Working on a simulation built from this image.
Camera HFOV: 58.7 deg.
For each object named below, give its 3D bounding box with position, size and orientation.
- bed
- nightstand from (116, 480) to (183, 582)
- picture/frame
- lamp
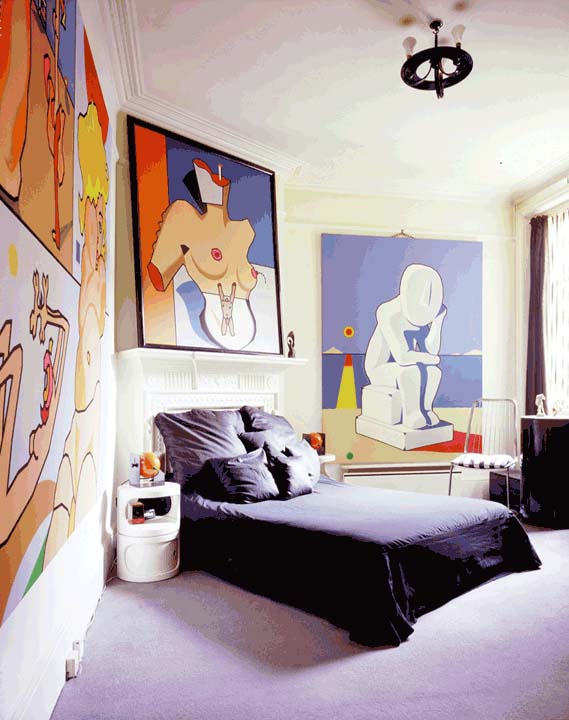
[{"bbox_3d":[0.093,0.491,2.609,1.022,0.746,1.383,-1,-2,-41],"label":"bed"},{"bbox_3d":[-0.740,0.871,2.739,0.323,0.490,0.422,2,3,18],"label":"nightstand"},{"bbox_3d":[-0.599,-0.908,3.633,0.097,1.682,1.337,-12,-13,42],"label":"picture/frame"},{"bbox_3d":[0.811,-1.629,2.725,0.344,0.471,0.370,-3,-2,24],"label":"lamp"}]
